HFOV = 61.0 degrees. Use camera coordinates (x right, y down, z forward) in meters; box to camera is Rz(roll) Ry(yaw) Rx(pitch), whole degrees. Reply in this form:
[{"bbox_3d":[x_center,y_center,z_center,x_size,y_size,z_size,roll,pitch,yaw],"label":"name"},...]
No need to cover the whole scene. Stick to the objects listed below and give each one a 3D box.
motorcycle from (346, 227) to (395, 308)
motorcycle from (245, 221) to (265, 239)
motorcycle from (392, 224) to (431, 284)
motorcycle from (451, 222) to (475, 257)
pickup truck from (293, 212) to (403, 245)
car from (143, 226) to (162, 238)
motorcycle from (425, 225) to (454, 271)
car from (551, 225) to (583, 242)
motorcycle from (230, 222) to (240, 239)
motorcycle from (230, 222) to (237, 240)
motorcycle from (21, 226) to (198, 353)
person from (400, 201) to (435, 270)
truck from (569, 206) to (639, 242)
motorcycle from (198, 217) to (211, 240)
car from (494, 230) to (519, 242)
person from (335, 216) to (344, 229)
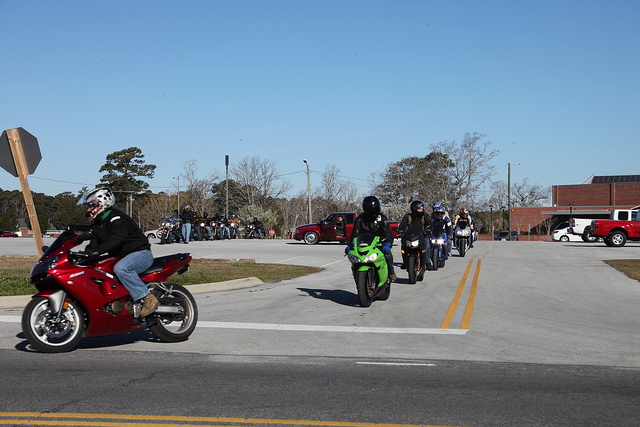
[{"bbox_3d":[1.185,1.343,12.363,1.069,1.622,0.621,-1,1,-44],"label":"motorcycle"},{"bbox_3d":[-5.701,1.519,45.321,0.894,1.066,1.655,-2,-3,23],"label":"motorcycle"},{"bbox_3d":[2.915,1.080,16.555,1.072,1.642,2.702,0,7,14],"label":"motorcycle"},{"bbox_3d":[6.628,1.201,24.913,0.861,1.239,2.154,0,-5,11],"label":"motorcycle"},{"bbox_3d":[1.611,1.413,36.009,6.597,2.399,2.797,2,-20,-3],"label":"pickup truck"},{"bbox_3d":[-15.977,1.799,52.116,1.619,0.833,2.594,-1,-2,2],"label":"car"},{"bbox_3d":[4.217,0.928,19.741,1.000,1.559,2.782,3,16,12],"label":"motorcycle"},{"bbox_3d":[20.075,1.704,43.988,2.078,1.087,1.262,-6,5,-3],"label":"car"},{"bbox_3d":[-6.820,1.412,42.803,0.335,1.207,1.239,0,0,17],"label":"motorcycle"},{"bbox_3d":[-6.808,1.362,42.741,0.196,1.201,0.532,0,1,30],"label":"motorcycle"},{"bbox_3d":[-3.457,1.313,9.328,1.053,1.974,3.115,-17,-15,37],"label":"motorcycle"},{"bbox_3d":[3.113,0.194,17.425,0.949,1.340,2.356,-2,-4,10],"label":"person"},{"bbox_3d":[18.719,0.811,34.281,4.757,1.825,2.268,-9,1,6],"label":"truck"},{"bbox_3d":[-7.999,1.113,37.227,0.573,1.516,1.691,0,0,-4],"label":"motorcycle"},{"bbox_3d":[22.623,2.789,65.658,1.163,1.178,2.654,-4,-5,38],"label":"car"},{"bbox_3d":[1.182,0.653,32.980,0.357,0.658,0.817,0,0,28],"label":"person"}]
